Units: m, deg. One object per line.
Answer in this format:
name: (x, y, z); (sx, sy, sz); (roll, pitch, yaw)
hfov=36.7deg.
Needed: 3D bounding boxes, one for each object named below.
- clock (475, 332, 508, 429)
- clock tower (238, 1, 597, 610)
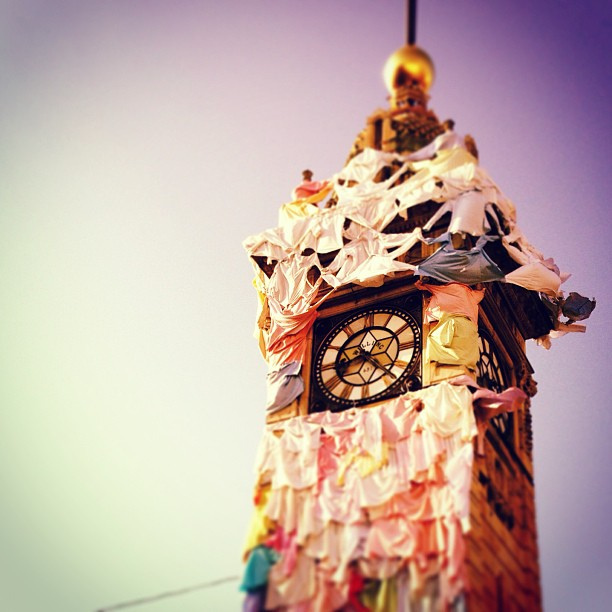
clock: (5.760, 2.338, 28.847); (0.131, 2.481, 2.440); (-18, -51, 26)
clock tower: (2.934, 2.534, 28.129); (6.221, 19.163, 6.413); (-18, -53, 18)
